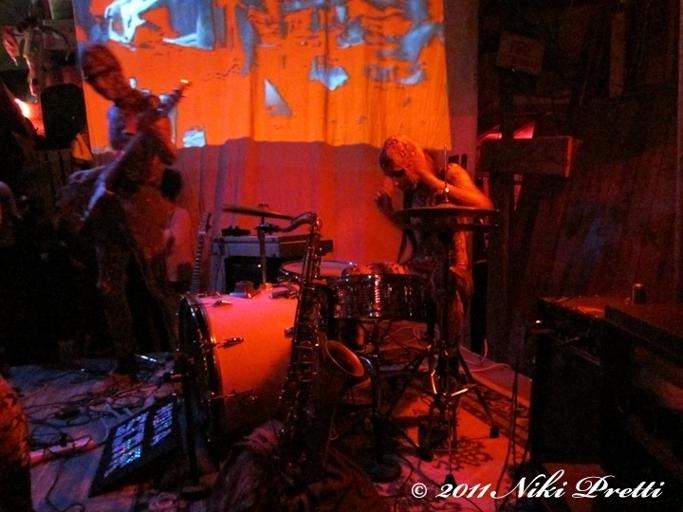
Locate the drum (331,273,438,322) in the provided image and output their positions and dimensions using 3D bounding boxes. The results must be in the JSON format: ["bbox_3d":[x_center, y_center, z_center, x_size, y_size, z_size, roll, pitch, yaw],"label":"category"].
[{"bbox_3d":[0.232,0.330,4.109,0.687,0.294,0.678,-1,-7,0],"label":"drum"}]

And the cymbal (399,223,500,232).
[{"bbox_3d":[0.699,-0.185,3.536,0.573,0.063,0.225,2,8,20],"label":"cymbal"}]

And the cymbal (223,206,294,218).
[{"bbox_3d":[-0.611,-0.320,3.967,0.494,0.111,0.410,-2,8,-12],"label":"cymbal"}]

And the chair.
[{"bbox_3d":[0.529,0.743,4.123,0.904,1.126,0.922,-4,-5,-15],"label":"chair"}]

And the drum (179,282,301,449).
[{"bbox_3d":[-0.861,0.701,4.154,0.929,1.155,1.187,1,-4,-26],"label":"drum"}]

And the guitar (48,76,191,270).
[{"bbox_3d":[-2.065,-0.656,5.294,1.154,2.354,0.844,0,-5,-4],"label":"guitar"}]

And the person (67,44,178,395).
[{"bbox_3d":[-1.957,-0.427,5.059,0.904,3.000,0.502,-3,9,-14],"label":"person"}]
